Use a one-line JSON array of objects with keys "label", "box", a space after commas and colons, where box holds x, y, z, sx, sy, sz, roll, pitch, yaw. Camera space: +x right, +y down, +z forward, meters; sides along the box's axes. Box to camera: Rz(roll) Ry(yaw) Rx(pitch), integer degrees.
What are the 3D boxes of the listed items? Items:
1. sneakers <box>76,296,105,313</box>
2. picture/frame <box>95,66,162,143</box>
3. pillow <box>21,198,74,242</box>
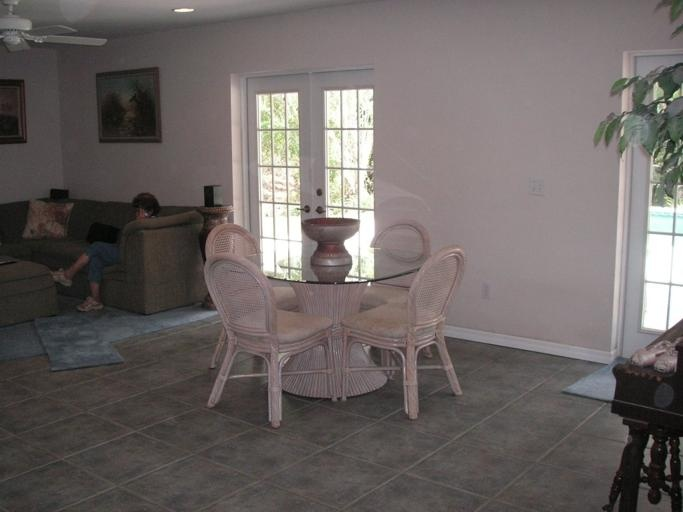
[{"label": "sneakers", "box": [-2.758, 0.551, 5.858, 0.282, 0.145, 0.120, 1, 8, -33]}, {"label": "picture/frame", "box": [-2.809, -2.053, 7.118, 1.154, 0.813, 0.075, 6, 14, 35]}, {"label": "pillow", "box": [-3.937, -0.489, 7.157, 0.544, 0.513, 0.163, 2, -17, 7]}]
